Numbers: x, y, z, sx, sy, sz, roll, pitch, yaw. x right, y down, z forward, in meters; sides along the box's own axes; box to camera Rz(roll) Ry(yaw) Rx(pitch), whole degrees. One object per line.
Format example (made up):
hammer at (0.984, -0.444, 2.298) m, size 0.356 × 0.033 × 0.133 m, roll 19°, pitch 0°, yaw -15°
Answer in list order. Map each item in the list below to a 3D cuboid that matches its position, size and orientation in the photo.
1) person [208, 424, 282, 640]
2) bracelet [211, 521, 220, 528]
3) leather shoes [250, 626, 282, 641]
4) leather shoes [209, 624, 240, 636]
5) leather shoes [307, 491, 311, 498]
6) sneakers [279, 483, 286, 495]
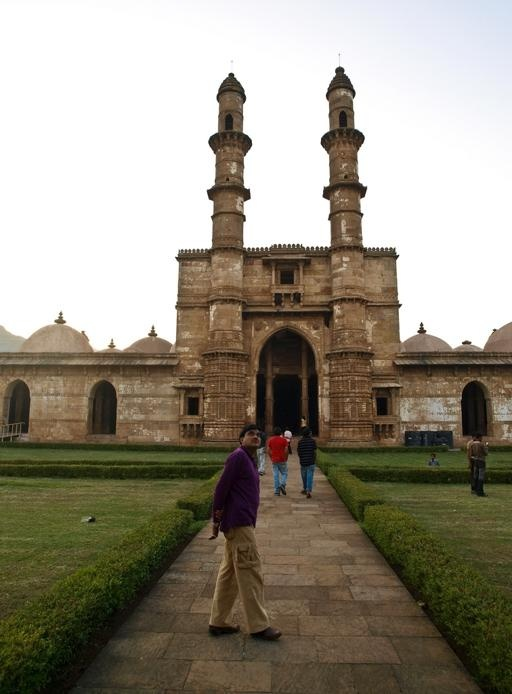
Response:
person at (-0.089, 1.428, 4.535) m, size 0.535 × 1.578 × 0.501 m, roll 1°, pitch -6°, yaw -4°
bracelet at (-0.310, 1.405, 4.476) m, size 0.052 × 0.049 × 0.038 m, roll 0°, pitch -4°, yaw -7°
leather shoes at (0.082, 2.167, 4.293) m, size 0.210 × 0.096 × 0.087 m, roll -6°, pitch -20°, yaw 10°
leather shoes at (-0.243, 2.175, 4.392) m, size 0.236 × 0.100 × 0.080 m, roll 1°, pitch -12°, yaw -8°
leather shoes at (1.016, 2.836, 10.854) m, size 0.049 × 0.112 × 0.108 m, roll -3°, pitch 12°, yaw 6°
sneakers at (0.531, 2.837, 11.249) m, size 0.080 × 0.238 × 0.094 m, roll -8°, pitch 8°, yaw 9°
